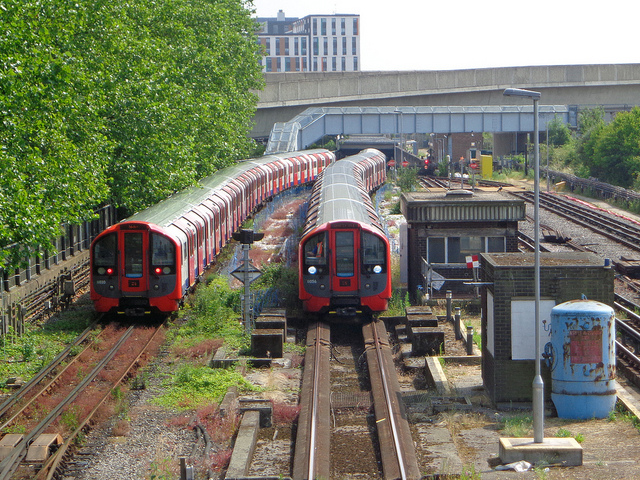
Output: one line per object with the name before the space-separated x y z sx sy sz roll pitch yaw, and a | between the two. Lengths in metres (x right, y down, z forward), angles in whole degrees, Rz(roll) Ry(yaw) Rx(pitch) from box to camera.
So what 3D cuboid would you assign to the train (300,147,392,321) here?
train | 1.110 -0.998 29.427 2.081 3.329 15.718 -1 13 3
